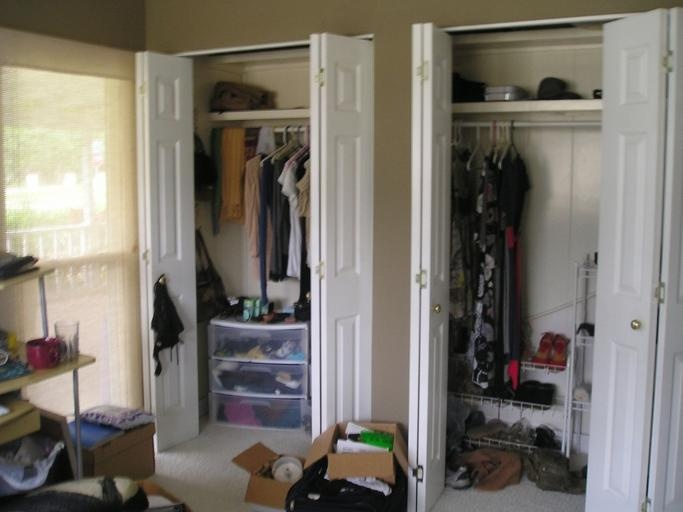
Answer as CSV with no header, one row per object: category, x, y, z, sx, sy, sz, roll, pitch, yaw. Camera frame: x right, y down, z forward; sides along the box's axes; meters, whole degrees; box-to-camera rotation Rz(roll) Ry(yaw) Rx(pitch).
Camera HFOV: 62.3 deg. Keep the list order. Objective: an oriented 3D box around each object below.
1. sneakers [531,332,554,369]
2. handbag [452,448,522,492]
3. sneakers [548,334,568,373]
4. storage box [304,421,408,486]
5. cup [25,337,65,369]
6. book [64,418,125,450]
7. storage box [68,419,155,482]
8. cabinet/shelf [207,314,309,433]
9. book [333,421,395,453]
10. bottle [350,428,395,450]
sneakers,1.450,0.674,4.074,0.098,0.080,0.298,-1,48,39
handbag,1.049,1.462,3.874,0.270,0.089,0.226,1,-1,-22
sneakers,1.537,0.677,4.024,0.139,0.113,0.426,2,27,29
storage box,0.095,1.239,3.512,0.642,0.268,0.474,-1,8,1
cup,-1.645,0.530,3.127,0.158,0.128,0.166,1,-1,0
book,-1.524,1.113,3.506,0.281,0.042,0.212,6,6,35
storage box,-1.498,1.194,3.676,0.408,0.276,0.414,1,3,29
cabinet/shelf,-0.521,0.950,4.680,0.802,0.804,0.661,0,1,11
book,0.143,1.150,3.538,0.215,0.077,0.171,1,2,26
bottle,0.201,1.142,3.538,0.163,0.049,0.126,2,4,11
